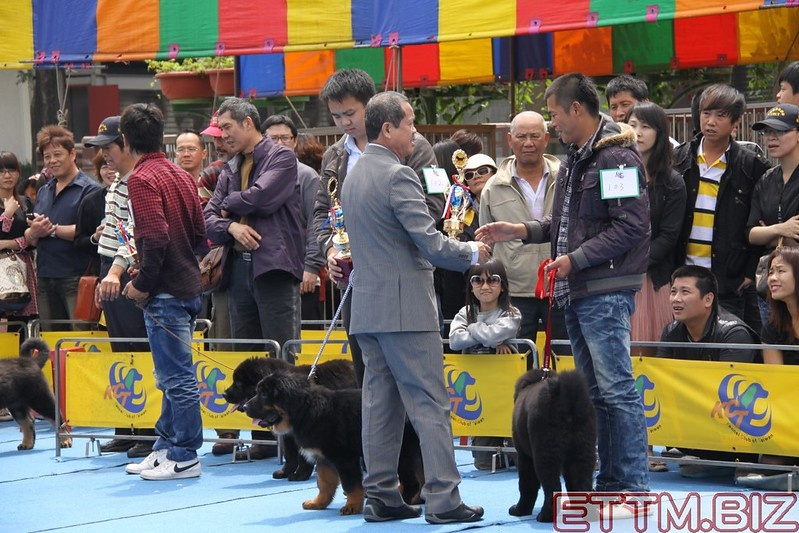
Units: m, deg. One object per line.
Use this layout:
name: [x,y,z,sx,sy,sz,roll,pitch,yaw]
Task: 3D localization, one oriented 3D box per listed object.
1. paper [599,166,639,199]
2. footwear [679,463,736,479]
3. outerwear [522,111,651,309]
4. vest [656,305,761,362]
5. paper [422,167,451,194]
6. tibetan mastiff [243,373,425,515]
paper: [1.898,-0.711,9.840,0.337,0.255,0.023,-2,-4,7]
footwear: [2.927,1.919,11.042,0.557,0.180,0.171,-2,0,-2]
outerwear: [1.744,-0.523,10.366,1.052,1.509,1.306,-5,3,-17]
vest: [2.941,0.773,11.195,0.955,0.671,0.536,-1,23,34]
paper: [0.339,-0.765,10.408,0.038,0.253,0.385,-21,-10,41]
tibetan mastiff: [-0.493,1.601,10.531,1.854,1.140,0.669,2,-14,-14]
